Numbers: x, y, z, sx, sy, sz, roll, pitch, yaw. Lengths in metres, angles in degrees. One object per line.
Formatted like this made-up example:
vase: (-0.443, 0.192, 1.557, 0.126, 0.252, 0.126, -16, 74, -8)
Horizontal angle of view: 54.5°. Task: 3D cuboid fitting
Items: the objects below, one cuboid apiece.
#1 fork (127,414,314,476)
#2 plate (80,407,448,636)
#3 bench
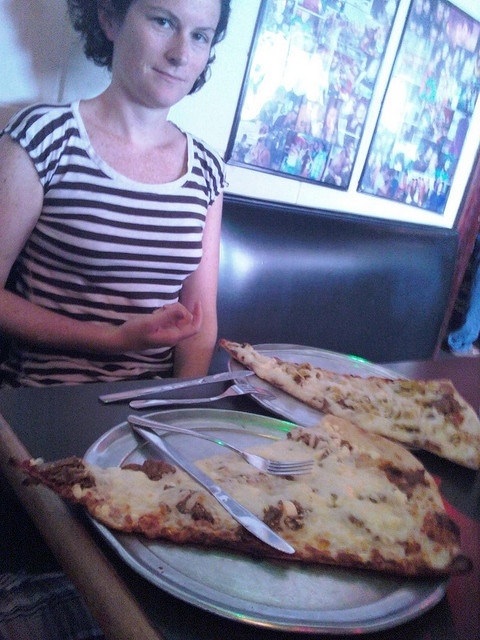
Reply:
fork: (-0.018, 0.163, 0.576, 0.048, 0.052, 0.440, 29, -6, 27)
plate: (0.000, 0.141, 0.377, 0.236, 0.054, 0.285, -1, 13, -25)
bench: (0.278, 0.068, 1.875, 1.119, 0.617, 0.572, 2, 42, -15)
